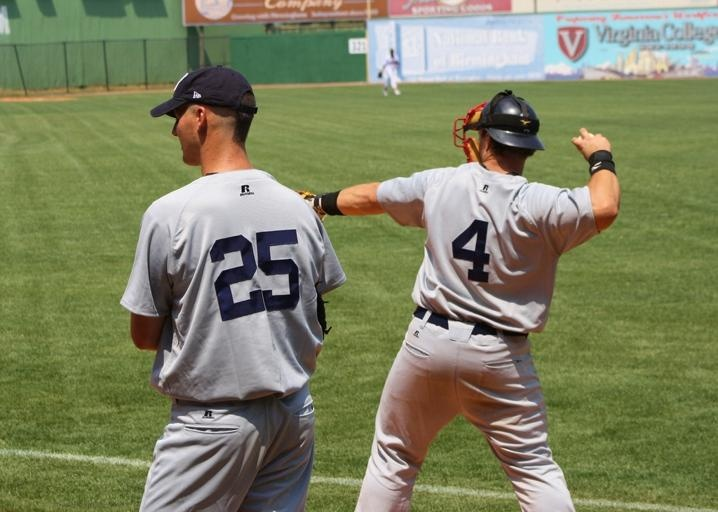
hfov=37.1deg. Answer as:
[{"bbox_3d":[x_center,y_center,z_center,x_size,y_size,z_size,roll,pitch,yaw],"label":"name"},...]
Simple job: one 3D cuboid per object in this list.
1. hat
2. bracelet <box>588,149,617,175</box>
[{"bbox_3d":[-1.375,-1.391,9.223,0.834,0.415,0.547,0,3,-3],"label":"hat"},{"bbox_3d":[2.170,-0.823,9.492,0.222,0.167,0.226,-4,-12,2],"label":"bracelet"}]
